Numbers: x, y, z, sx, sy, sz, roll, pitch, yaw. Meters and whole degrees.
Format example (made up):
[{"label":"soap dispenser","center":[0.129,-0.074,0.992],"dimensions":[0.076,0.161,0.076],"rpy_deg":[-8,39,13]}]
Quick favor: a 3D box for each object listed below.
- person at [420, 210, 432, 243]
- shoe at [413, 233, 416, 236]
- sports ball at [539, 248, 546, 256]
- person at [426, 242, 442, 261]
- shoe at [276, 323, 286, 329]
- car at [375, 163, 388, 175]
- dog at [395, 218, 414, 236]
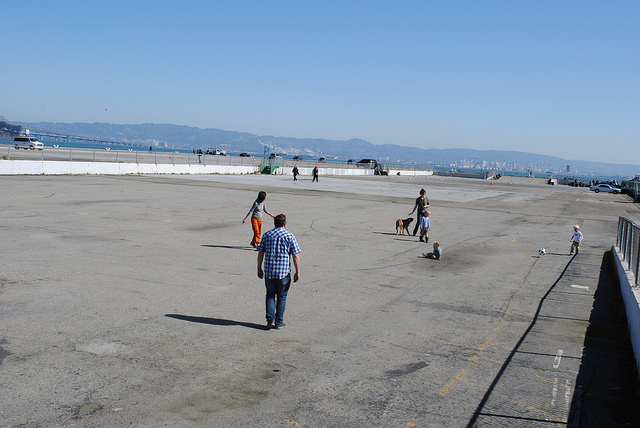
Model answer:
[{"label":"person","center":[4.510,0.487,19.616],"dimensions":[0.392,1.374,0.813],"rpy_deg":[6,10,12]},{"label":"shoe","center":[4.287,0.908,20.976],"dimensions":[0.150,0.149,0.162],"rpy_deg":[-2,1,37]},{"label":"sports ball","center":[8.655,1.441,17.825],"dimensions":[0.271,0.268,0.336],"rpy_deg":[4,1,10]},{"label":"person","center":[4.069,1.312,16.403],"dimensions":[0.574,0.752,0.696],"rpy_deg":[3,-1,0]},{"label":"shoe","center":[-0.774,2.233,9.280],"dimensions":[0.091,0.082,0.263],"rpy_deg":[9,11,29]},{"label":"car","center":[12.725,-9.761,97.738],"dimensions":[2.600,3.294,2.498],"rpy_deg":[-4,15,-13]},{"label":"dog","center":[3.871,0.489,21.373],"dimensions":[0.636,0.924,1.483],"rpy_deg":[5,10,9]}]
